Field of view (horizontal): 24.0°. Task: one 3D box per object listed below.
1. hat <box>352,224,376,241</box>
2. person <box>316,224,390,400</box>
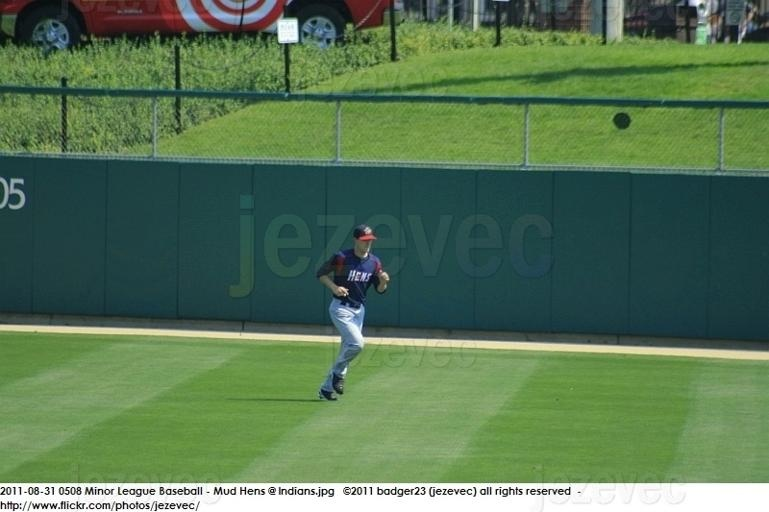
[{"bbox_3d":[-0.404,-0.335,31.811,0.268,0.213,0.375,-5,12,-32],"label":"hat"},{"bbox_3d":[-0.602,1.082,31.826,1.136,3.097,0.432,0,2,-4],"label":"person"}]
